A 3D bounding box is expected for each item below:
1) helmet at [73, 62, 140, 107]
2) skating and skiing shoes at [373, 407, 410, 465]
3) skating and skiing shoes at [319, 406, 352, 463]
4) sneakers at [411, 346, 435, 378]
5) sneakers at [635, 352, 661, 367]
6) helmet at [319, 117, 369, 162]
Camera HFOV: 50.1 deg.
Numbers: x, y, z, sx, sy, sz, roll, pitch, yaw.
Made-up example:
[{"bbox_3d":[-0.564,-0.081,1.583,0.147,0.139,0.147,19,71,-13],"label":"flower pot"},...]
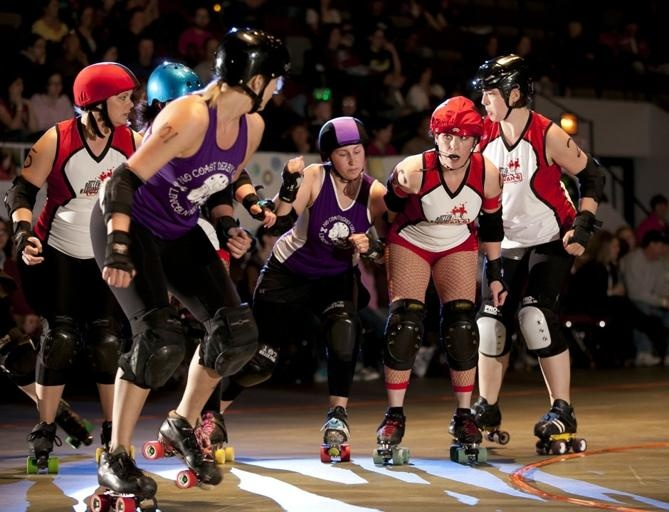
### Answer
[{"bbox_3d":[-1.325,-0.974,4.179,0.306,0.212,0.251,-6,16,-1],"label":"helmet"},{"bbox_3d":[0.332,1.038,4.189,0.208,0.306,0.258,1,-5,6],"label":"skating and skiing shoes"},{"bbox_3d":[0.004,0.986,4.181,0.122,0.390,0.189,1,-1,0],"label":"skating and skiing shoes"},{"bbox_3d":[1.060,1.238,8.434,0.259,0.366,0.171,1,-4,7],"label":"sneakers"},{"bbox_3d":[3.978,1.316,9.152,0.362,0.177,0.129,-4,8,-8],"label":"sneakers"},{"bbox_3d":[0.056,-0.710,4.355,0.230,0.216,0.265,-11,14,16],"label":"helmet"}]
